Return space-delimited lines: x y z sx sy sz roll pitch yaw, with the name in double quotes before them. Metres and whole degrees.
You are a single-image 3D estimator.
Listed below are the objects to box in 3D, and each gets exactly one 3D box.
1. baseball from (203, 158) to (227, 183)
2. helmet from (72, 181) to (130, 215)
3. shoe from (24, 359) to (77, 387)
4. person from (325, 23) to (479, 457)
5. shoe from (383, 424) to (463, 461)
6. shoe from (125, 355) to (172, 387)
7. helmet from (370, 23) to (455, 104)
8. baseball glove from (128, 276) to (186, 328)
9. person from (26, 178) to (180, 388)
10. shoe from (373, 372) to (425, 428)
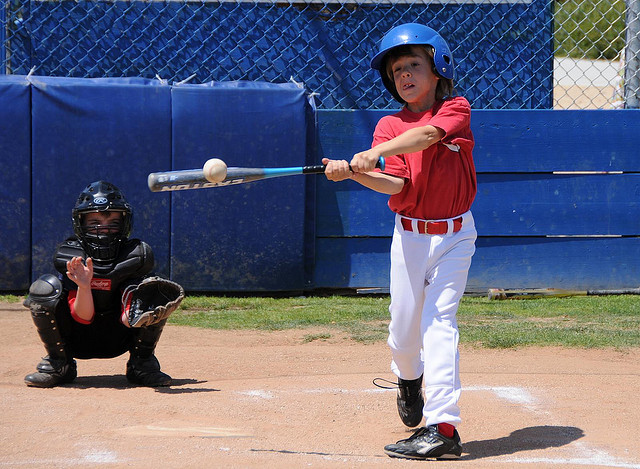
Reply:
"baseball" -0.643 -0.387 5.942 0.143 0.137 0.175 -4 14 -16
"helmet" -1.464 -0.205 6.489 0.390 0.275 0.440 -4 9 -18
"shoe" -1.743 0.921 6.442 0.391 0.147 0.128 8 1 -37
"person" 0.537 -0.002 5.732 0.750 2.408 1.073 3 15 8
"shoe" 0.606 1.211 5.639 0.565 0.191 0.169 2 -11 3
"shoe" -1.122 0.887 6.464 0.393 0.228 0.144 6 1 43
"helmet" 0.568 -1.028 5.911 0.500 0.487 0.292 4 15 14
"baseball glove" -1.078 0.452 6.312 0.352 0.158 0.371 18 45 9
"person" -1.425 0.341 6.374 0.998 1.309 0.475 -2 16 -9
"shoe" 0.502 0.945 5.921 0.338 0.159 0.434 -2 44 10
